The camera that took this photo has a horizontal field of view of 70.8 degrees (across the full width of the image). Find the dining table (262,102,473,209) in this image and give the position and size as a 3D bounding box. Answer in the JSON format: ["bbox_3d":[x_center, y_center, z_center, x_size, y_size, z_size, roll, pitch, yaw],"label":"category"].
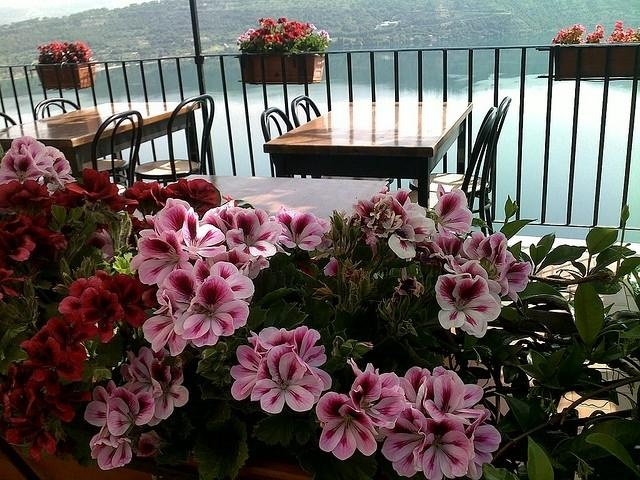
[{"bbox_3d":[0.424,-0.531,3.265,0.988,0.640,1.500,5,26,19],"label":"dining table"}]

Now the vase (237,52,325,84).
[{"bbox_3d":[-0.375,-1.583,4.183,0.564,0.176,0.406,3,21,10],"label":"vase"}]

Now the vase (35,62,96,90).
[{"bbox_3d":[-3.007,-1.898,5.351,0.581,0.229,0.365,3,17,12],"label":"vase"}]

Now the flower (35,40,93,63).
[{"bbox_3d":[-3.071,-2.159,5.415,0.475,0.237,0.410,-10,28,-14],"label":"flower"}]
